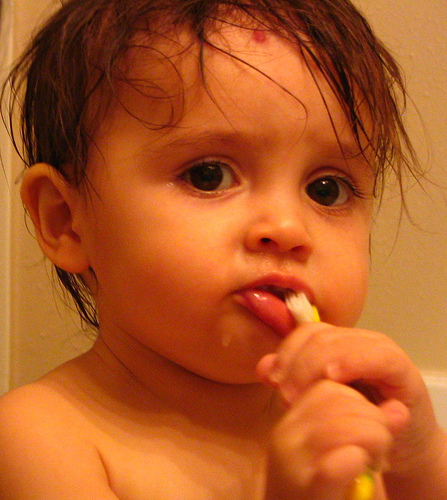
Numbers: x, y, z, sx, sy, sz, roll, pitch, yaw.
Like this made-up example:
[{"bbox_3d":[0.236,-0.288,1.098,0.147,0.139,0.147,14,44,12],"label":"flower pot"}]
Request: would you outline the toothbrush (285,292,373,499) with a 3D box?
[{"bbox_3d":[0.081,0.113,0.453,0.031,0.158,0.031,0,-16,-34],"label":"toothbrush"}]
